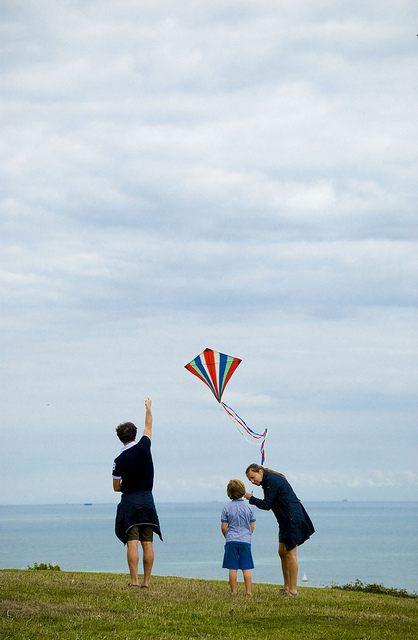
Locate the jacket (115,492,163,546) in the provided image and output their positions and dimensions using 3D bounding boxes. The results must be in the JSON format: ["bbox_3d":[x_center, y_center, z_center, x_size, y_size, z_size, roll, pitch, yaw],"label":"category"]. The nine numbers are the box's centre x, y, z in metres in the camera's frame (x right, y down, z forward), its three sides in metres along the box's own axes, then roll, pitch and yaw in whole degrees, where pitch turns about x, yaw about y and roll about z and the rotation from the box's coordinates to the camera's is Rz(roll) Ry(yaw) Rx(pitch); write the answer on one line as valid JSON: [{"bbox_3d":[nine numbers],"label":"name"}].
[{"bbox_3d":[-1.574,4.259,29.695,0.945,1.157,0.655,3,-22,-19],"label":"jacket"}]

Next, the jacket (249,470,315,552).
[{"bbox_3d":[1.579,4.161,29.900,1.414,1.690,0.689,6,-9,-32],"label":"jacket"}]

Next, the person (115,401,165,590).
[{"bbox_3d":[-1.592,3.799,29.653,1.005,3.981,0.569,3,-7,-11],"label":"person"}]

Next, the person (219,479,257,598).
[{"bbox_3d":[0.575,4.738,29.832,0.736,2.457,1.098,2,-7,1],"label":"person"}]

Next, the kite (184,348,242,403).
[{"bbox_3d":[0.081,1.336,33.570,1.383,1.869,0.063,-6,-46,-7],"label":"kite"}]
